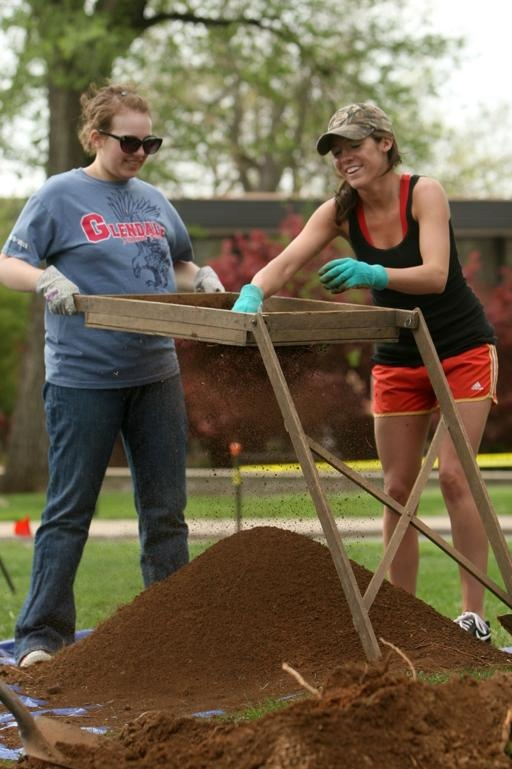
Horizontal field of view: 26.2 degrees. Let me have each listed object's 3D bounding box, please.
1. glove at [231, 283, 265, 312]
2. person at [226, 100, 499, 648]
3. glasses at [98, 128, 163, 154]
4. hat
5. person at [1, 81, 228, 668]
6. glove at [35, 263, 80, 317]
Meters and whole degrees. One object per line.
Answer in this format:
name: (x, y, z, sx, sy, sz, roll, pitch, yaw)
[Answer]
glove: (-0.017, -0.290, 3.679, 0.095, 0.073, 0.144, 18, 32, 2)
person: (0.444, -0.017, 3.931, 0.797, 1.922, 0.619, 1, 9, 10)
glasses: (-0.466, -0.896, 4.057, 0.139, 0.041, 0.132, -5, 22, -39)
hat: (0.353, -0.899, 3.816, 0.170, 0.111, 0.247, -13, -12, 39)
person: (-0.565, -0.067, 4.138, 0.593, 2.093, 1.053, 5, 11, 32)
glove: (-0.703, -0.320, 3.751, 0.088, 0.123, 0.188, 27, 20, -37)
